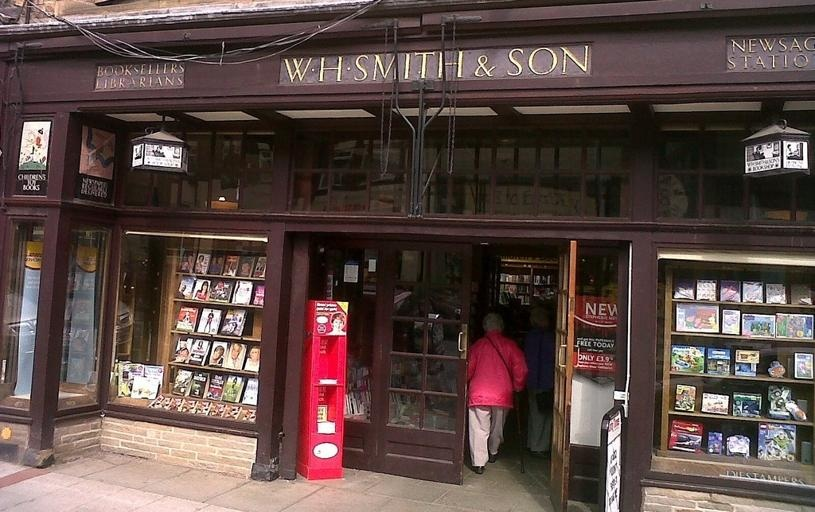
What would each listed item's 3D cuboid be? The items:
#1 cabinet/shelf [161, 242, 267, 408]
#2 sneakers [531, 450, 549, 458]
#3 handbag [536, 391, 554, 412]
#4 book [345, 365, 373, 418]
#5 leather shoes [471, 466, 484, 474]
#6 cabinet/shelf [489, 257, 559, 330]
[{"bbox_3d":[-2.717,0.881,9.476,1.550,2.237,0.475,5,9,20],"label":"cabinet/shelf"},{"bbox_3d":[1.966,2.922,10.061,0.243,0.106,0.088,0,5,4],"label":"sneakers"},{"bbox_3d":[2.038,2.152,10.109,0.278,0.306,0.071,-2,-5,-14],"label":"handbag"},{"bbox_3d":[-0.692,1.886,9.475,0.457,0.625,0.189,1,-2,9],"label":"book"},{"bbox_3d":[0.969,2.967,9.446,0.124,0.133,0.092,-4,-11,38],"label":"leather shoes"},{"bbox_3d":[2.169,0.680,12.583,1.265,1.250,0.415,-2,-9,28],"label":"cabinet/shelf"}]
